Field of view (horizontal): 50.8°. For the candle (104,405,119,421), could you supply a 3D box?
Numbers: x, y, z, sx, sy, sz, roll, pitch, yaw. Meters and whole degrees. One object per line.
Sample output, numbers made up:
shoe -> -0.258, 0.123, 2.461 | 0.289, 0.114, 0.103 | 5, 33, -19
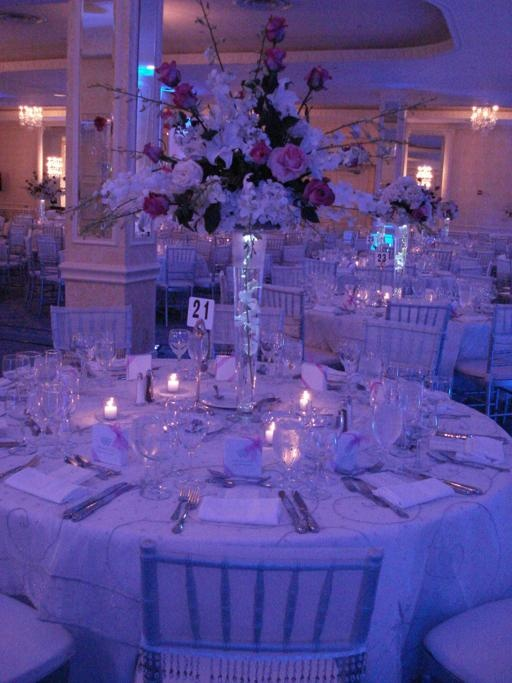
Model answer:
candle -> -0.466, 0.225, 1.738 | 0.038, 0.043, 0.038 | -1, 13, -22

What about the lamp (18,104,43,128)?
lamp -> -6.374, -6.495, 15.219 | 0.559, 0.618, 1.108 | -5, 13, -28

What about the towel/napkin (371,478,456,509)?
towel/napkin -> 0.365, 0.353, 1.265 | 0.096, 0.027, 0.083 | -4, 4, -35

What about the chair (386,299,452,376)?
chair -> 1.004, -0.036, 3.339 | 0.351, 0.565, 0.367 | 10, 17, 29

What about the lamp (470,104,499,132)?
lamp -> 5.528, -5.550, 13.064 | 0.494, 0.640, 1.222 | 7, 12, 27

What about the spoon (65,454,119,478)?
spoon -> -0.432, 0.318, 1.401 | 0.057, 0.047, 0.268 | -17, 10, -35

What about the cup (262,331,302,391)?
cup -> 0.111, 0.083, 2.258 | 0.169, 0.244, 0.201 | -1, 4, -9

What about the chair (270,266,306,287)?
chair -> 0.359, -0.774, 6.323 | 0.341, 0.253, 0.353 | -1, 10, -26

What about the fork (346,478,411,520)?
fork -> 0.266, 0.355, 1.261 | 0.042, 0.012, 0.166 | -2, 9, -16

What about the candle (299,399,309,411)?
candle -> 0.144, 0.198, 1.666 | 0.020, 0.024, 0.023 | 0, 2, 19

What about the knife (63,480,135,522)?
knife -> -0.346, 0.342, 1.200 | 0.036, 0.015, 0.171 | 7, 10, 19

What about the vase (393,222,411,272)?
vase -> 1.431, -0.945, 5.315 | 0.140, 0.502, 0.111 | -3, -21, 22

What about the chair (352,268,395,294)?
chair -> 1.164, -0.606, 5.293 | 0.333, 0.385, 0.215 | 0, 9, -1

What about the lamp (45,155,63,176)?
lamp -> -7.152, -6.163, 18.884 | 0.202, 0.789, 0.636 | 0, 0, 29

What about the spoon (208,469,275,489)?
spoon -> -0.045, 0.341, 1.346 | 0.183, 0.048, 0.056 | 4, 16, -1
